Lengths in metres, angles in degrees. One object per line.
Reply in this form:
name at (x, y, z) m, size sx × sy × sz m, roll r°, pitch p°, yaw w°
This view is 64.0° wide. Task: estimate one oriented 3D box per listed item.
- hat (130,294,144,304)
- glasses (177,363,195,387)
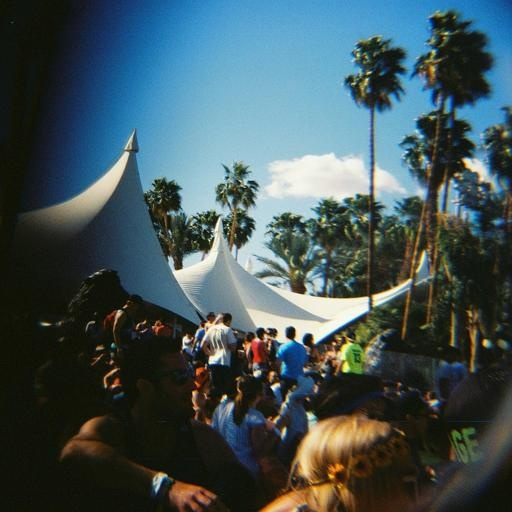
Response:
hat at (-1.473, 0.544, 5.110) m, size 0.108 × 0.112 × 0.095 m, roll -4°, pitch -6°, yaw 28°
glasses at (-0.698, 1.191, 4.086) m, size 0.164 × 0.084 × 0.170 m, roll 0°, pitch -4°, yaw 21°
